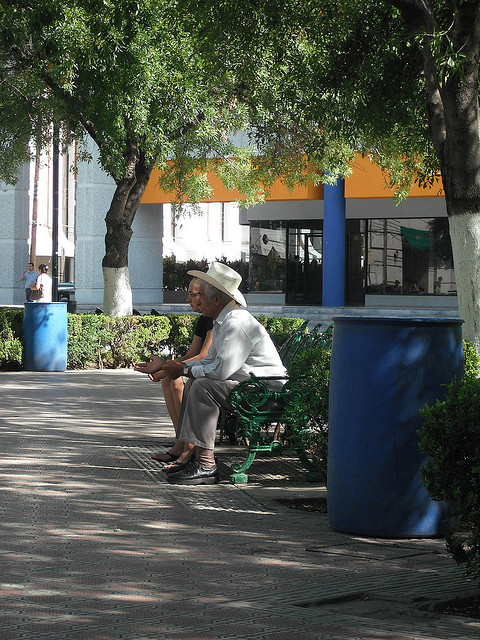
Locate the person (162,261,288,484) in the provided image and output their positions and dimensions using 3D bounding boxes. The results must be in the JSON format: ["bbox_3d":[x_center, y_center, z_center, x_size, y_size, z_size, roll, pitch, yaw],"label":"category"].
[{"bbox_3d":[-0.173,0.347,5.232,0.717,1.667,0.873,-2,-3,37],"label":"person"}]

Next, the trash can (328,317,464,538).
[{"bbox_3d":[0.752,0.540,3.669,0.637,1.070,0.644,3,0,-31],"label":"trash can"}]
